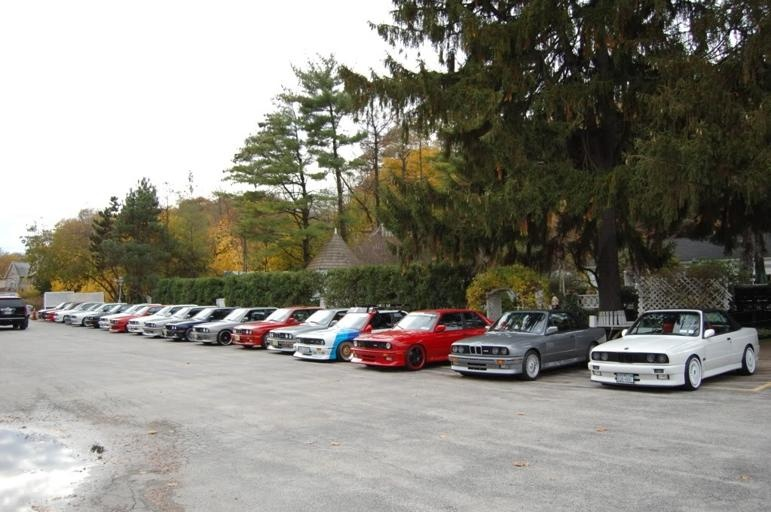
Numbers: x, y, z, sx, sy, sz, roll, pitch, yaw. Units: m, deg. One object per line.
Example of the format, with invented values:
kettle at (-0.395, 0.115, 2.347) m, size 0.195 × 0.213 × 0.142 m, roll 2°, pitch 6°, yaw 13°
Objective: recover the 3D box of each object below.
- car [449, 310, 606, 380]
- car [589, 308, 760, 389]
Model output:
car at (4.251, 2.498, 18.086) m, size 4.190 × 1.481 × 1.900 m, roll 4°, pitch -11°, yaw -39°
car at (7.462, 2.312, 15.787) m, size 3.868 × 1.422 × 1.906 m, roll 6°, pitch -12°, yaw -35°
